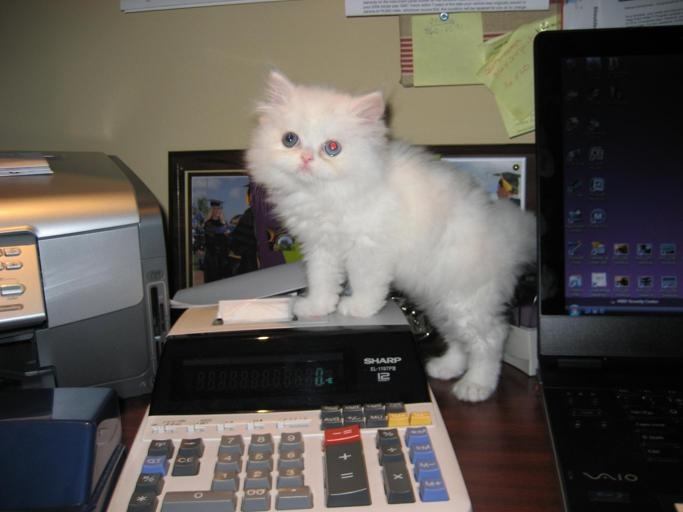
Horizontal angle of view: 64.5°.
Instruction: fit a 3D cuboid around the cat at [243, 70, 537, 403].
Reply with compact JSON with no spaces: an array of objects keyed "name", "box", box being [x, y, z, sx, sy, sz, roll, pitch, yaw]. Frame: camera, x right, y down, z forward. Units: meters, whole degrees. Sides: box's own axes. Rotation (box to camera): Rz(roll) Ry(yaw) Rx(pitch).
[{"name":"cat","box":[0.141,-0.052,1.102,0.678,0.515,0.301,10,-2,-25]}]
